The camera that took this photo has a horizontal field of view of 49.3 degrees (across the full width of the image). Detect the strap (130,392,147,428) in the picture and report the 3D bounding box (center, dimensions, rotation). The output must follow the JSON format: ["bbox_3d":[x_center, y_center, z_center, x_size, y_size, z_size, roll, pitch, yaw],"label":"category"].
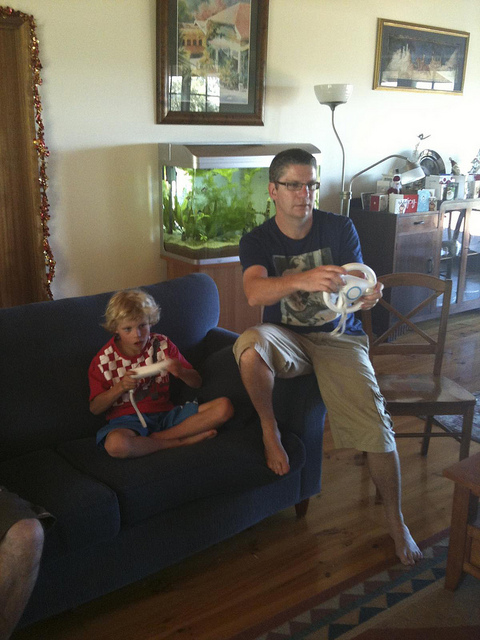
[{"bbox_3d":[-0.313,0.279,1.595,0.010,0.118,0.018,-28,24,-28],"label":"strap"}]

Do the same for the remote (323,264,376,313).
[{"bbox_3d":[0.333,-0.088,1.619,0.155,0.146,0.150,-18,23,6],"label":"remote"}]

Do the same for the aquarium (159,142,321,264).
[{"bbox_3d":[-0.062,-0.758,3.390,0.883,0.597,0.470,-11,21,-35],"label":"aquarium"}]

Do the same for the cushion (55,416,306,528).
[{"bbox_3d":[-0.208,0.472,1.592,0.678,0.148,0.384,-1,1,-45],"label":"cushion"}]

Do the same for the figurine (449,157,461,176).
[{"bbox_3d":[1.743,-1.225,4.216,0.074,0.145,0.299,3,10,21],"label":"figurine"}]

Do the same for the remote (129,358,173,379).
[{"bbox_3d":[-0.262,0.138,1.554,0.077,0.021,0.056,-17,9,-34],"label":"remote"}]
